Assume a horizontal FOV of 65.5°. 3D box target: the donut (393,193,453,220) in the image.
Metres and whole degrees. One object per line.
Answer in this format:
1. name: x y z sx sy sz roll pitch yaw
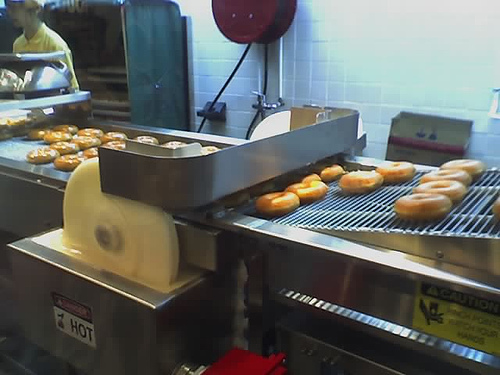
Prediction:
1. donut: 0.427 0.047 0.963 0.134 0.051 0.138 -8 6 -15

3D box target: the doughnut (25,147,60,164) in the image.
1. doughnut: -0.855 -0.133 1.616 0.128 0.041 0.109 -8 22 -26

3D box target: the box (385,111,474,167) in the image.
1. box: 0.504 -0.133 1.110 0.212 0.143 0.046 12 22 27

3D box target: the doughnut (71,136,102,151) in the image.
1. doughnut: -0.714 -0.191 1.705 0.116 0.044 0.127 -2 13 -14

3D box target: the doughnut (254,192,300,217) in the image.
1. doughnut: 0.072 0.048 1.071 0.123 0.052 0.075 2 20 1

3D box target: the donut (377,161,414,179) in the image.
1. donut: 0.431 -0.053 1.160 0.100 0.046 0.066 10 21 21

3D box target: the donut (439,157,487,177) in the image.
1. donut: 0.594 -0.063 1.083 0.072 0.025 0.073 -8 9 5

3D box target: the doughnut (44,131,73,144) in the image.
1. doughnut: -0.874 -0.240 1.769 0.076 0.027 0.078 11 18 30

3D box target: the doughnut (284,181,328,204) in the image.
1. doughnut: 0.165 0.007 1.123 0.077 0.029 0.079 -12 14 -4

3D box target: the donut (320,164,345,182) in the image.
1. donut: 0.252 -0.048 1.240 0.053 0.020 0.054 -11 8 46

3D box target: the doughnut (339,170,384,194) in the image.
1. doughnut: 0.322 -0.021 1.126 0.077 0.029 0.079 -2 17 25

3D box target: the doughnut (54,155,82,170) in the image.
1. doughnut: -0.718 -0.116 1.550 0.070 0.034 0.072 7 19 14
